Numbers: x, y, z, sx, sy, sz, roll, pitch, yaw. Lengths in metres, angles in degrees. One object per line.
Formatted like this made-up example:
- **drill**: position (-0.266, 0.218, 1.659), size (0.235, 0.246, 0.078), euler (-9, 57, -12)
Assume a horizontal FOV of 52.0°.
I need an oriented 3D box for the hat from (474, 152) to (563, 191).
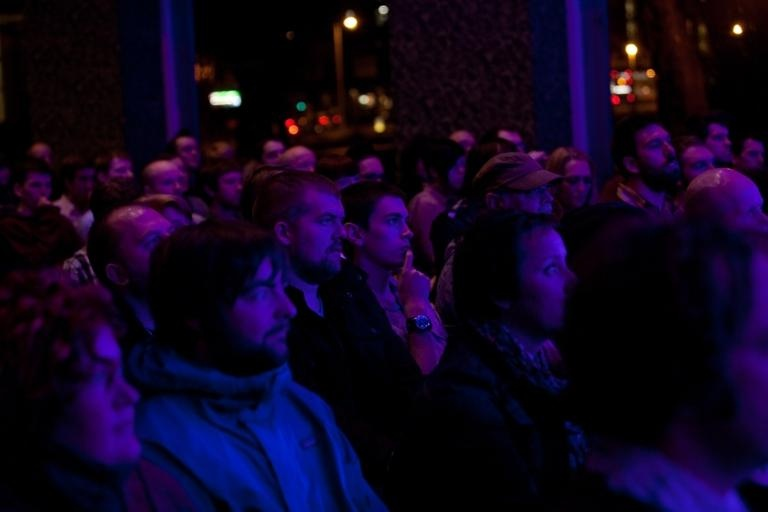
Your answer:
- **hat**: position (0.749, -0.473, 4.532), size (0.359, 0.153, 0.243), euler (-5, 4, 14)
